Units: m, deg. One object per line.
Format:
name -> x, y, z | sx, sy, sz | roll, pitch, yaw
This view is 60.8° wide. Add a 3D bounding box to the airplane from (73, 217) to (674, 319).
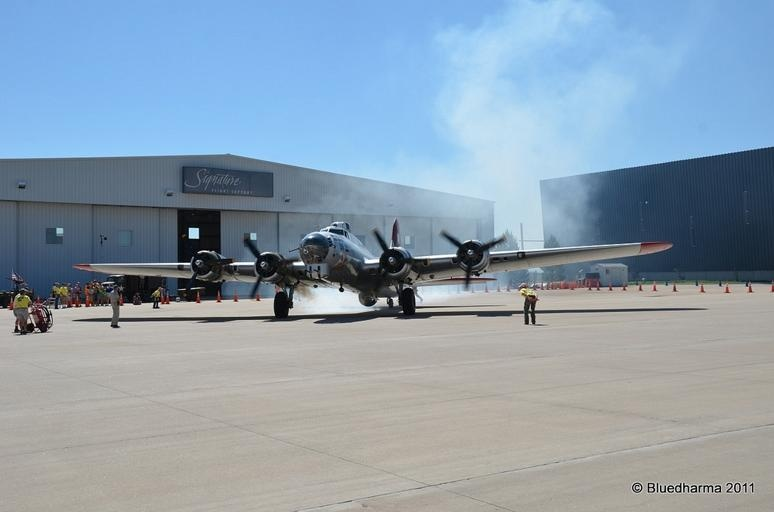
airplane -> -0.618, 0.572, 29.967 | 22.138, 4.152, 7.961 | -1, -2, -3
